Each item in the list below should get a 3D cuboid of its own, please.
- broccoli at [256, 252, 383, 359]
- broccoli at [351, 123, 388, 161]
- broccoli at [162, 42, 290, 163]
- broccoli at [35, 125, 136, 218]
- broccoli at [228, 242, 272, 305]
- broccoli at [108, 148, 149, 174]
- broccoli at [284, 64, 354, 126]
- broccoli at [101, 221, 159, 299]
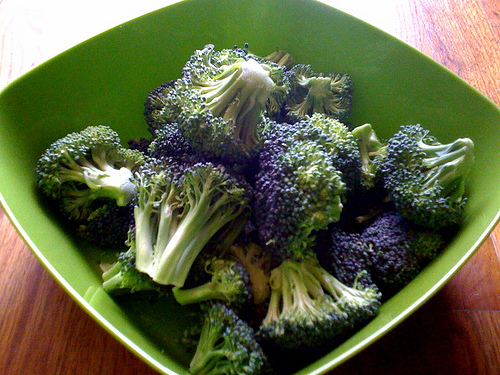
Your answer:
[{"bbox_3d":[0.210,0.383,1.366,0.355,0.136,0.299,23,58,13],"label":"broccoli"},{"bbox_3d":[0.423,-0.174,1.597,0.131,0.038,0.115,-44,31,-26],"label":"broccoli"},{"bbox_3d":[-0.062,-0.373,1.572,0.364,0.260,0.469,38,29,-18],"label":"broccoli"},{"bbox_3d":[-0.585,-0.047,1.655,0.271,0.328,0.311,-5,87,-1],"label":"broccoli"},{"bbox_3d":[0.005,0.273,1.421,0.134,0.078,0.178,-4,86,-19],"label":"broccoli"},{"bbox_3d":[-0.464,-0.102,1.626,0.115,0.132,0.100,22,97,46],"label":"broccoli"},{"bbox_3d":[0.261,-0.322,1.741,0.255,0.128,0.217,17,57,-14],"label":"broccoli"},{"bbox_3d":[-0.393,0.253,1.446,0.215,0.204,0.122,-27,29,8],"label":"broccoli"}]
